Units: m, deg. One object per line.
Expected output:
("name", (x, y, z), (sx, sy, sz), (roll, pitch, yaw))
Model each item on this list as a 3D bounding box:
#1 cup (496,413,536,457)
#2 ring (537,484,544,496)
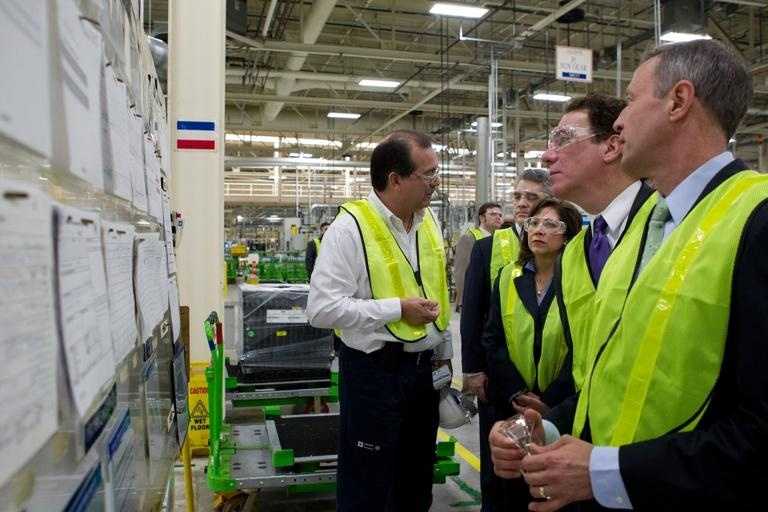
("cup", (0.362, 0.479, 1.644), (0.078, 0.090, 0.088), (-37, -1, -19))
("ring", (0.377, 0.571, 1.471), (0.007, 0.025, 0.018), (-10, -25, 11))
